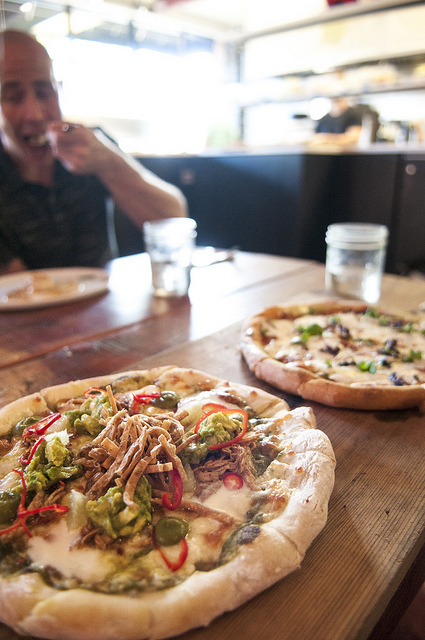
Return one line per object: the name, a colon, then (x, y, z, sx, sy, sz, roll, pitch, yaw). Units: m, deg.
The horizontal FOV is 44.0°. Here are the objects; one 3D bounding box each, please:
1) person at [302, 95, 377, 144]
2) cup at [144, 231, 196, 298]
person: (1.173, -1.794, 4.782, 0.622, 0.389, 1.172, 3, 21, 11)
cup: (-0.166, -0.232, 2.228, 0.212, 0.278, 0.170, -11, 24, -23)
